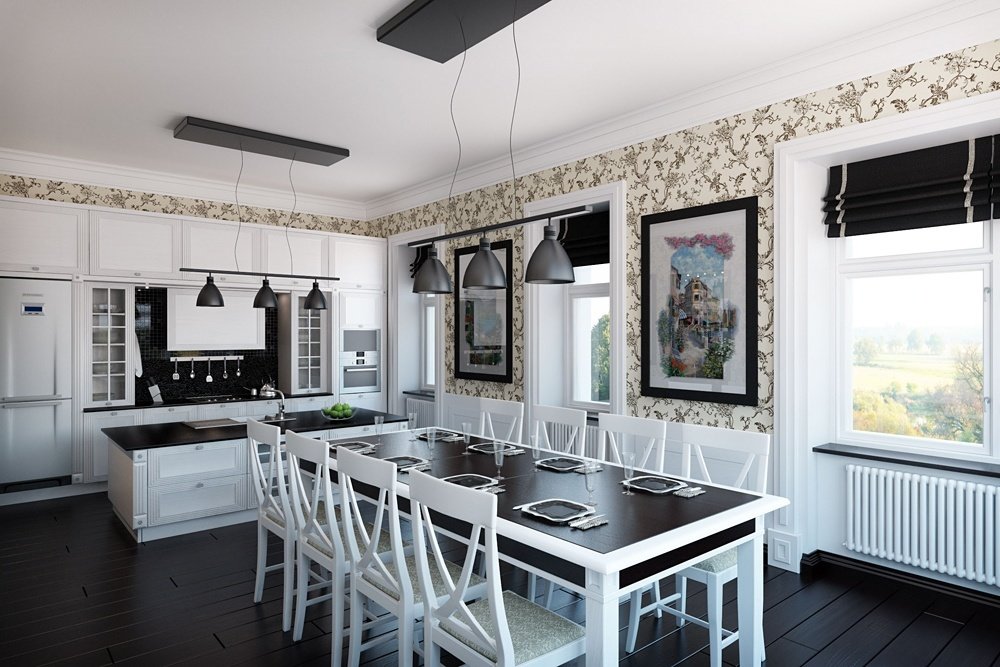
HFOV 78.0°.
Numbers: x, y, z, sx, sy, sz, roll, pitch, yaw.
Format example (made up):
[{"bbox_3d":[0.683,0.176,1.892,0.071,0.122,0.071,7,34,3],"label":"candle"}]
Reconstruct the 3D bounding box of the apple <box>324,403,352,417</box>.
[{"bbox_3d":[-1.599,0.772,6.108,0.160,0.087,0.168,4,-7,-37],"label":"apple"}]

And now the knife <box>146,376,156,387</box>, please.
[{"bbox_3d":[-4.136,0.573,7.326,0.037,0.122,0.087,-12,34,48],"label":"knife"}]

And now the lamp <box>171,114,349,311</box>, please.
[{"bbox_3d":[-2.841,-1.361,7.095,1.696,1.595,0.477,4,-7,-37],"label":"lamp"}]

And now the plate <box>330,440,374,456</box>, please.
[{"bbox_3d":[-1.146,0.869,4.726,0.283,0.040,0.200,0,2,-30],"label":"plate"}]

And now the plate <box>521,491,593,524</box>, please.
[{"bbox_3d":[0.335,1.031,3.617,0.402,0.069,0.351,-1,-1,-35],"label":"plate"}]

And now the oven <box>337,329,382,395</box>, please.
[{"bbox_3d":[-1.981,0.377,8.497,0.730,0.899,0.678,0,7,-14],"label":"oven"}]

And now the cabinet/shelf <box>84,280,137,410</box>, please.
[{"bbox_3d":[-4.352,0.144,6.905,0.510,1.493,0.287,-2,0,-30],"label":"cabinet/shelf"}]

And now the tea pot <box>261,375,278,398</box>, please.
[{"bbox_3d":[-2.938,0.682,7.834,0.233,0.358,0.379,2,-6,-19],"label":"tea pot"}]

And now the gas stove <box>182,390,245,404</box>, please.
[{"bbox_3d":[-3.469,0.788,7.514,0.630,0.108,0.560,-1,0,-26],"label":"gas stove"}]
